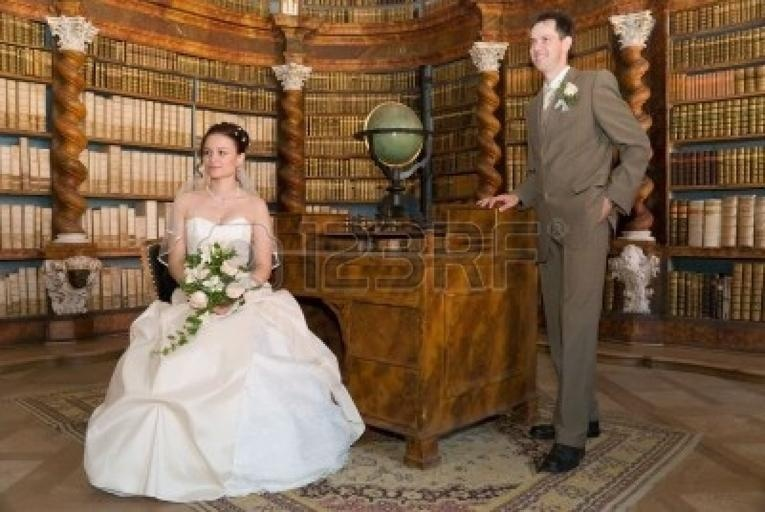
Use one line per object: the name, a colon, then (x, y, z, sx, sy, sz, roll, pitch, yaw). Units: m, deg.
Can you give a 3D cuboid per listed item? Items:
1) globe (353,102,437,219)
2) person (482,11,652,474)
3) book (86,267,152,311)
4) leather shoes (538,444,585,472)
globe: (0.099, -0.675, 4.613, 0.533, 0.850, 0.537, 0, 2, -25)
person: (1.175, -0.131, 4.262, 0.819, 2.896, 0.844, -10, 16, -37)
book: (-2.943, 0.370, 7.020, 0.604, 0.412, 0.045, 0, -1, -43)
leather shoes: (1.167, 1.319, 4.128, 0.294, 0.118, 0.158, -4, 2, -32)
